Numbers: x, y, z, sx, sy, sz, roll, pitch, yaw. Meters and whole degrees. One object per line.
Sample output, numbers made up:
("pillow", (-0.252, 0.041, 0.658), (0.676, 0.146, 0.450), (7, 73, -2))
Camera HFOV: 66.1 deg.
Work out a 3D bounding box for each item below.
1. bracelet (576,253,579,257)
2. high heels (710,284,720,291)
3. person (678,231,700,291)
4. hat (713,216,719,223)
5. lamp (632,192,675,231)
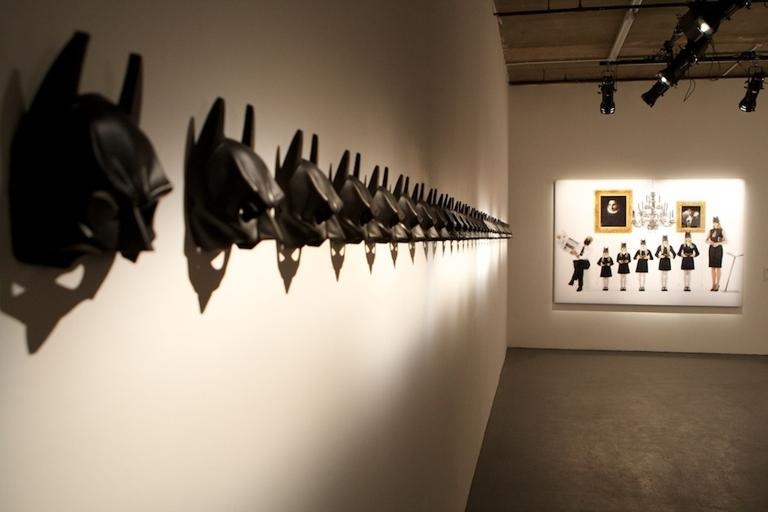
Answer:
("bracelet", (2.692, -0.025, 8.242), (0.047, 0.053, 0.017), (-3, 4, -39))
("high heels", (4.419, 0.432, 7.902), (0.117, 0.056, 0.042), (1, 3, 1))
("person", (4.115, 0.077, 8.002), (0.272, 0.775, 0.081), (-1, 2, -7))
("hat", (4.457, -0.489, 7.939), (0.059, 0.087, 0.029), (2, 3, 12))
("lamp", (3.667, -0.622, 8.048), (0.515, 0.520, 0.178), (0, 2, 21))
